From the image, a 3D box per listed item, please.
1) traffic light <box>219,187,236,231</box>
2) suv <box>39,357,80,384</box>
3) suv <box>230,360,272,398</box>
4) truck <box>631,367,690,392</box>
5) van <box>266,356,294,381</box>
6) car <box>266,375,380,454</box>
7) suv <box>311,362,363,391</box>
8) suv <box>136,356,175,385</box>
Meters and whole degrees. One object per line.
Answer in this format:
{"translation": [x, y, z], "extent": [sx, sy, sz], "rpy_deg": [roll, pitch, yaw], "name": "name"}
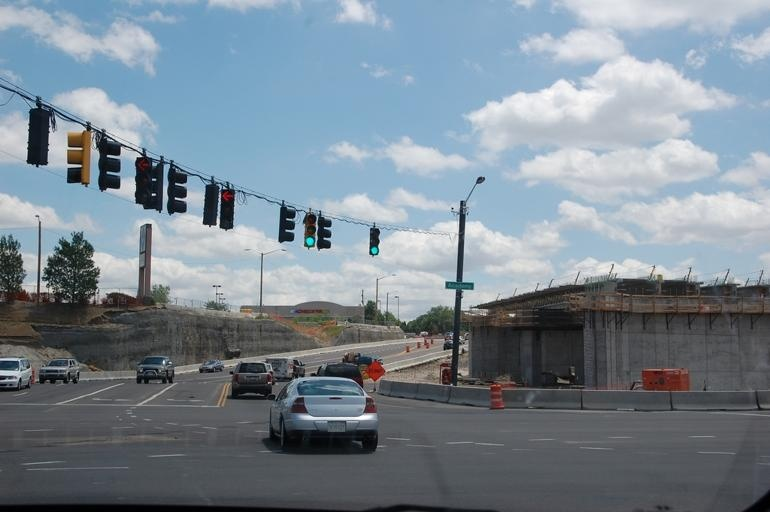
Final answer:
{"translation": [-6.057, -1.862, 35.993], "extent": [0.482, 1.834, 1.389], "rpy_deg": [4, -9, -13], "name": "traffic light"}
{"translation": [-21.286, 7.586, 61.685], "extent": [1.674, 1.185, 2.766], "rpy_deg": [-2, -14, 5], "name": "suv"}
{"translation": [-6.568, 6.106, 46.453], "extent": [1.909, 1.792, 2.006], "rpy_deg": [3, -9, -10], "name": "suv"}
{"translation": [14.393, 6.306, 47.811], "extent": [2.146, 1.065, 2.787], "rpy_deg": [-1, -9, 13], "name": "truck"}
{"translation": [-7.189, 7.919, 66.775], "extent": [1.402, 1.047, 2.102], "rpy_deg": [0, 0, 4], "name": "van"}
{"translation": [-1.795, 4.868, 29.027], "extent": [3.026, 2.120, 1.192], "rpy_deg": [0, -9, 9], "name": "car"}
{"translation": [-2.023, 5.864, 44.052], "extent": [1.596, 1.247, 2.507], "rpy_deg": [2, 2, -10], "name": "suv"}
{"translation": [-15.108, 7.531, 62.381], "extent": [1.541, 1.114, 2.710], "rpy_deg": [0, -9, -1], "name": "suv"}
